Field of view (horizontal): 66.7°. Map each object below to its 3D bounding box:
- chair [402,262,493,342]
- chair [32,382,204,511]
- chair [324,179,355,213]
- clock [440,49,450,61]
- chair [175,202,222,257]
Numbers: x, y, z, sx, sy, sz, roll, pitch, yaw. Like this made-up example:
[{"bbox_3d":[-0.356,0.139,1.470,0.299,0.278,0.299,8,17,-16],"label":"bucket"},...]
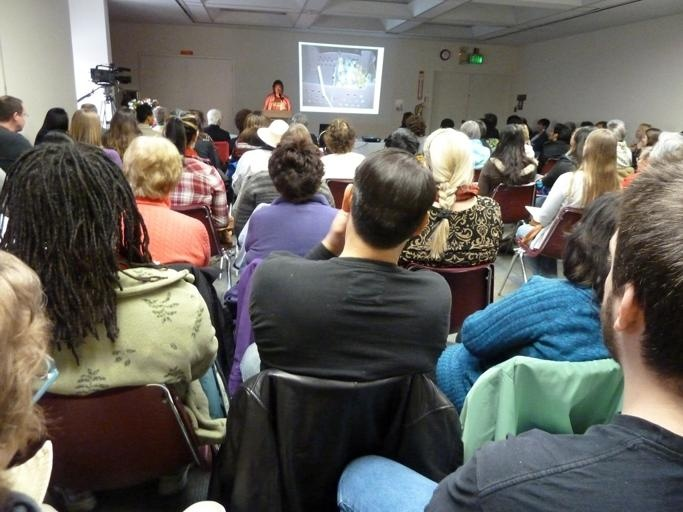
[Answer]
[{"bbox_3d":[0.428,0.194,2.547,0.252,0.520,0.349,-2,12,-8],"label":"chair"},{"bbox_3d":[-0.559,0.496,1.524,0.313,0.460,0.353,-6,41,-13],"label":"chair"},{"bbox_3d":[-0.047,-0.449,4.007,0.174,0.243,0.319,1,21,-4],"label":"chair"},{"bbox_3d":[2.235,-4.620,11.957,0.275,0.247,0.060,-7,18,-25],"label":"clock"},{"bbox_3d":[-0.776,-0.173,3.140,0.194,0.372,0.263,0,46,4],"label":"chair"}]
